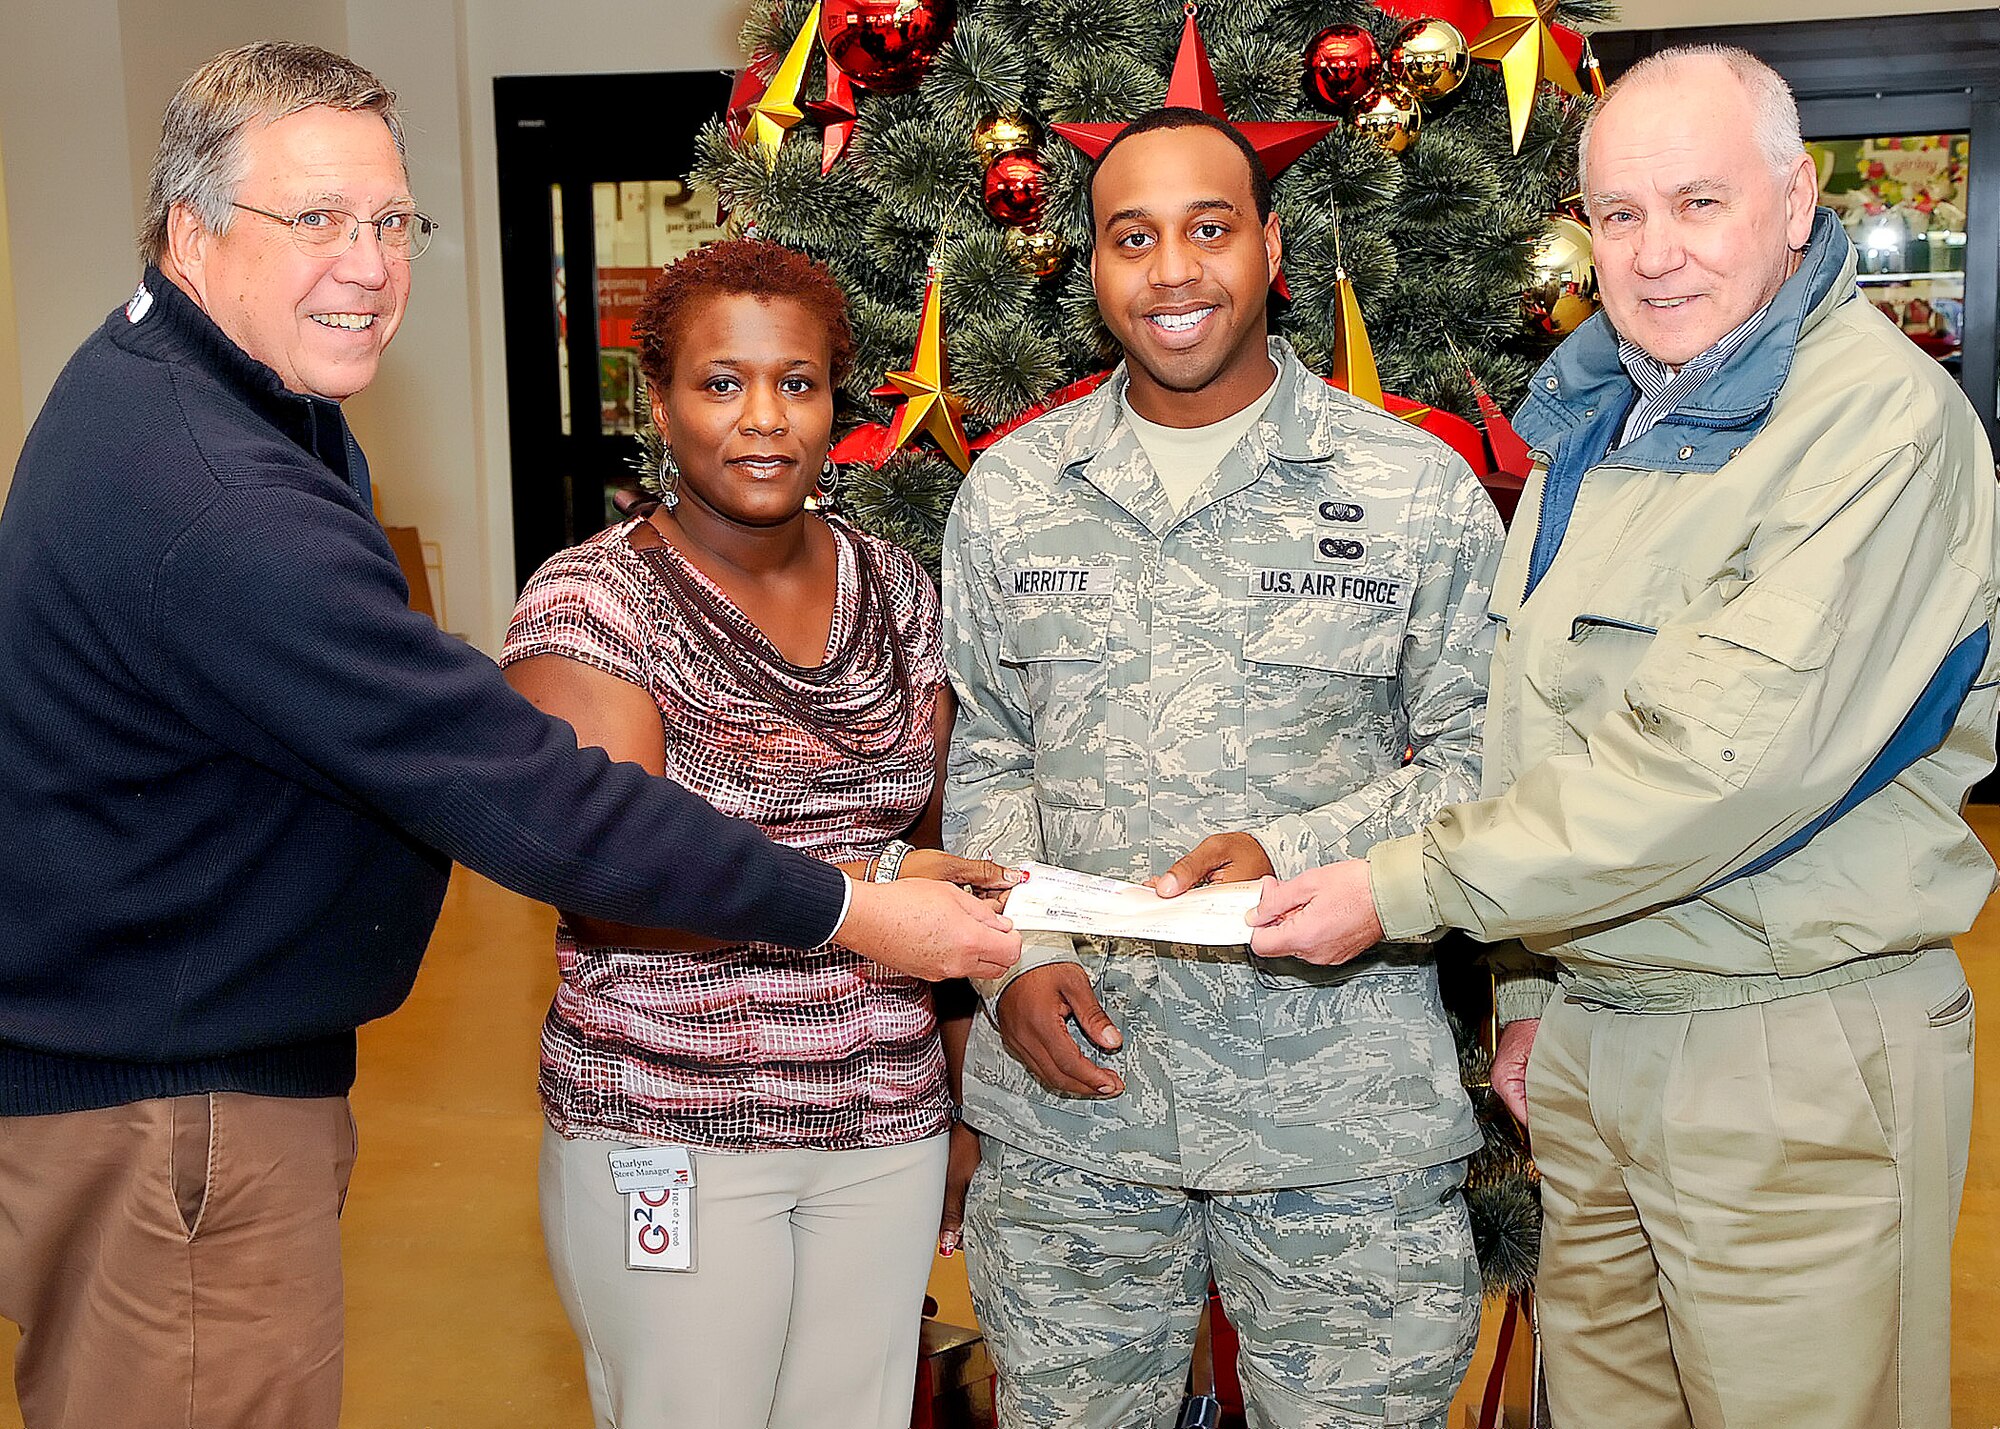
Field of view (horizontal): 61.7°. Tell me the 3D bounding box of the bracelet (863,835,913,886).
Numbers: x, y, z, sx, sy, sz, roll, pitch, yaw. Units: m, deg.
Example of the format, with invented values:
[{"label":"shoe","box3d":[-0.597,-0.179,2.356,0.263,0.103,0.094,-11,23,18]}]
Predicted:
[{"label":"bracelet","box3d":[-0.143,0.192,2.192,0.045,0.044,0.045,15,-8,6]}]
